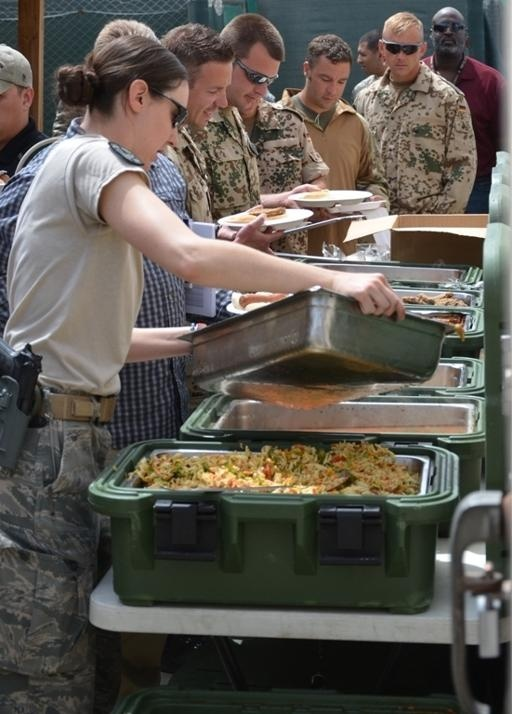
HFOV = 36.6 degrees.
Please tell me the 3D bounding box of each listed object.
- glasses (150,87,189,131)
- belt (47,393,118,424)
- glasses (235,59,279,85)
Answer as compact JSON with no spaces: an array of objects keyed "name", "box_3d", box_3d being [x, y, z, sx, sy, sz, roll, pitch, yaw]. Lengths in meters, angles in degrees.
[{"name":"glasses","box_3d":[-0.188,-0.539,1.690,0.016,0.056,0.058,-44,-9,15]},{"name":"belt","box_3d":[-0.392,0.109,1.725,0.074,0.034,0.098,5,3,28]},{"name":"glasses","box_3d":[0.006,-1.560,4.245,0.147,0.042,0.138,-10,51,-49]}]
